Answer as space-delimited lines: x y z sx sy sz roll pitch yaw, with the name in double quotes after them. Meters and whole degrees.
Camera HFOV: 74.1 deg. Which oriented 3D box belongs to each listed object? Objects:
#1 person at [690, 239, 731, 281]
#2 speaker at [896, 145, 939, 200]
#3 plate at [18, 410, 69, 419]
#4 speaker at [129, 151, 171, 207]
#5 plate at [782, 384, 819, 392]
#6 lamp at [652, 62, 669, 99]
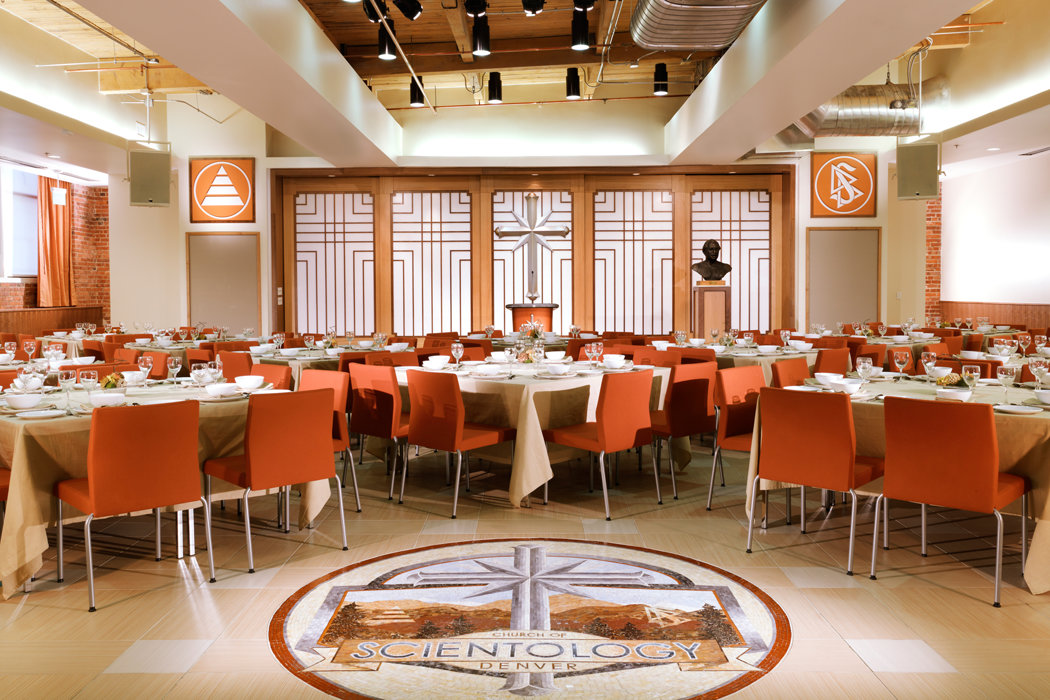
3.077 -1.446 11.269 0.511 0.703 0.625 0 2 6 "person"
5.601 -2.546 9.856 0.522 0.749 0.278 1 3 23 "speaker"
-2.824 0.385 4.057 0.285 0.028 0.187 -1 2 -9 "plate"
-5.539 -2.541 10.243 0.508 0.786 0.241 -1 3 -15 "speaker"
1.952 0.275 4.875 0.160 0.016 0.160 -2 2 -15 "plate"
2.045 -4.084 10.431 0.168 0.570 0.506 0 2 7 "lamp"
